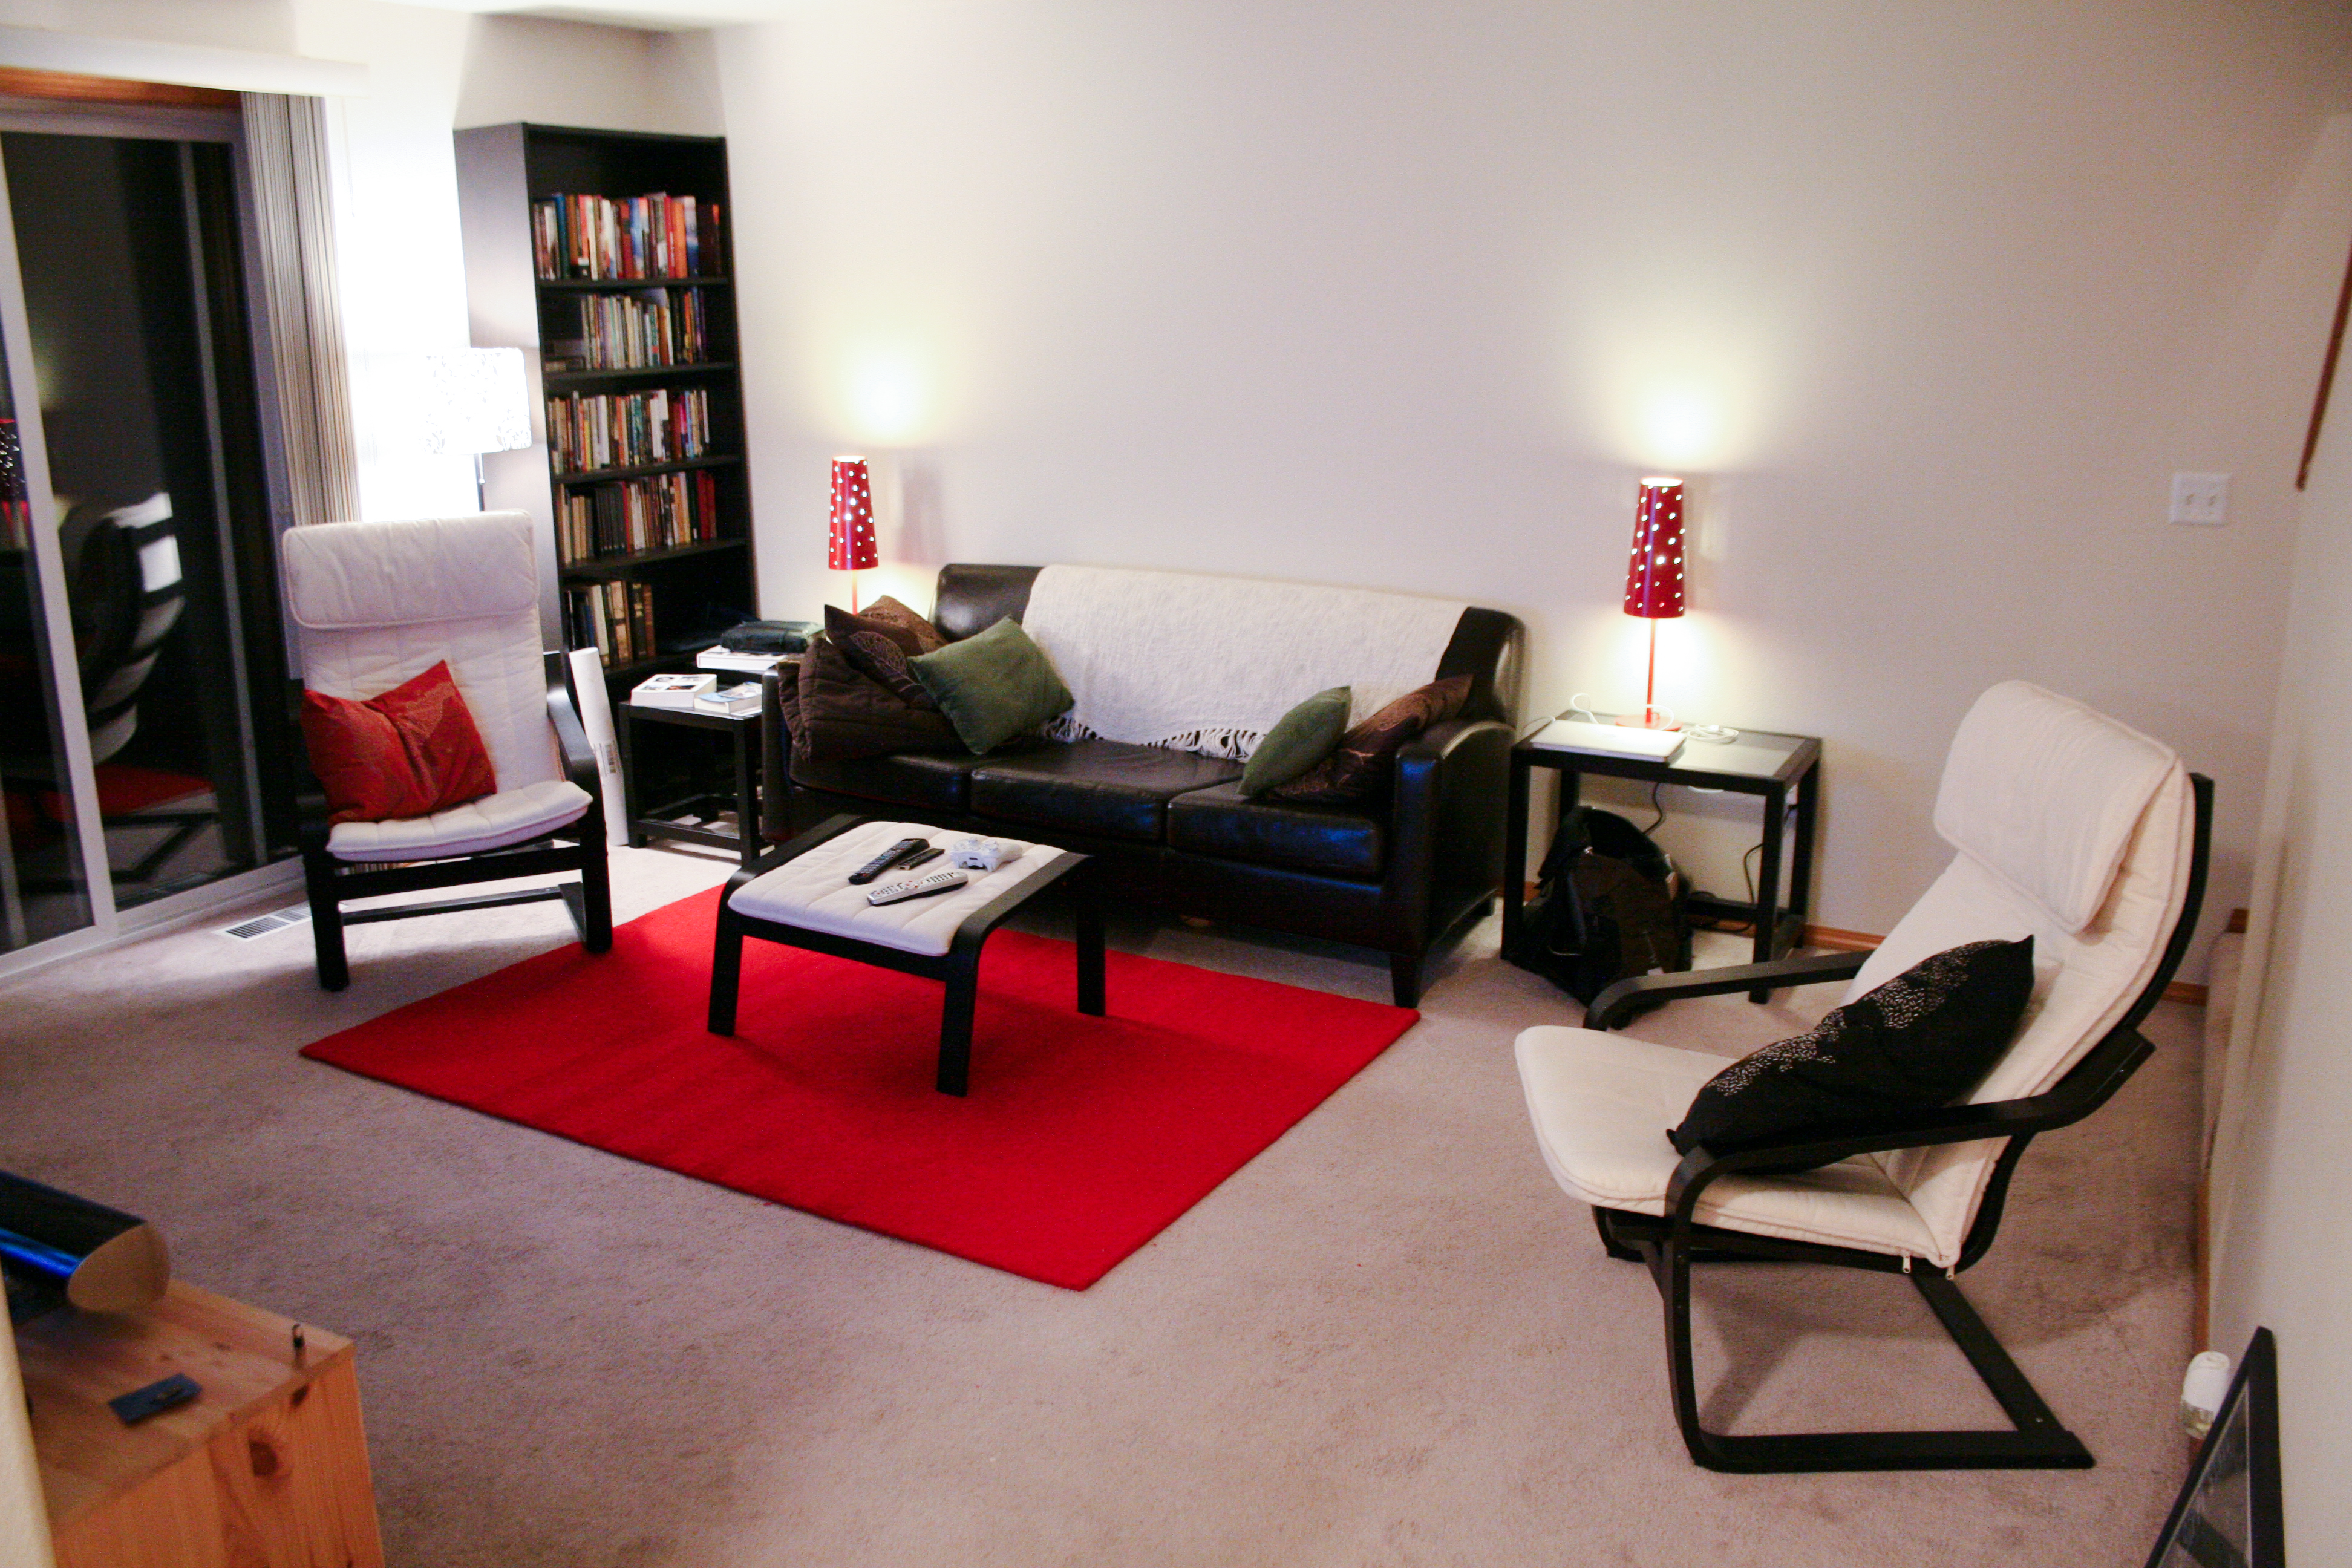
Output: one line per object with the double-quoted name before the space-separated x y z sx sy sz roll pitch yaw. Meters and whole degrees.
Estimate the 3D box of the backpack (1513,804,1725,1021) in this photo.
"backpack" 1.370 0.370 5.193 0.523 0.488 0.383 7 31 27

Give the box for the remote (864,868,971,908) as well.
"remote" -0.735 0.286 4.660 0.189 0.033 0.117 -10 17 -30

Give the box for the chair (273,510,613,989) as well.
"chair" -2.402 -0.160 5.352 1.059 1.232 1.181 -2 20 -11

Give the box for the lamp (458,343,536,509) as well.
"lamp" -2.479 -1.280 6.031 0.250 0.598 0.472 -8 20 -22

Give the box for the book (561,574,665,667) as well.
"book" -2.243 -0.643 6.484 0.290 0.362 0.386 1 8 17

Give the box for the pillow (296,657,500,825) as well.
"pillow" -2.503 -0.127 5.272 0.512 0.388 0.409 -12 22 -32

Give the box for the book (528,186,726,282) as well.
"book" -2.106 -2.073 6.304 0.189 0.314 0.860 10 20 26

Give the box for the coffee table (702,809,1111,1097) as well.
"coffee table" -0.805 0.462 4.893 1.031 0.472 0.794 8 18 21

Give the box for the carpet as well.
"carpet" -0.825 0.764 4.823 2.649 0.154 1.585 8 19 23

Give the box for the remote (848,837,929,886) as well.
"remote" -0.850 0.219 4.824 0.100 0.052 0.181 16 29 40

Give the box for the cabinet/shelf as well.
"cabinet/shelf" -2.100 -1.442 6.375 0.695 1.597 0.303 -6 7 -21

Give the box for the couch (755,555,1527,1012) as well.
"couch" -0.127 -0.111 5.799 2.431 1.075 1.085 8 19 24

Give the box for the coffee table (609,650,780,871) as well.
"coffee table" -1.767 -0.074 6.395 0.673 0.566 0.647 2 13 5

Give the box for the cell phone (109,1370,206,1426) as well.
"cell phone" -1.701 1.016 2.736 0.126 0.033 0.066 -12 22 -34

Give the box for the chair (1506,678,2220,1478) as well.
"chair" 1.692 0.542 4.154 1.763 1.964 1.469 -2 14 8
